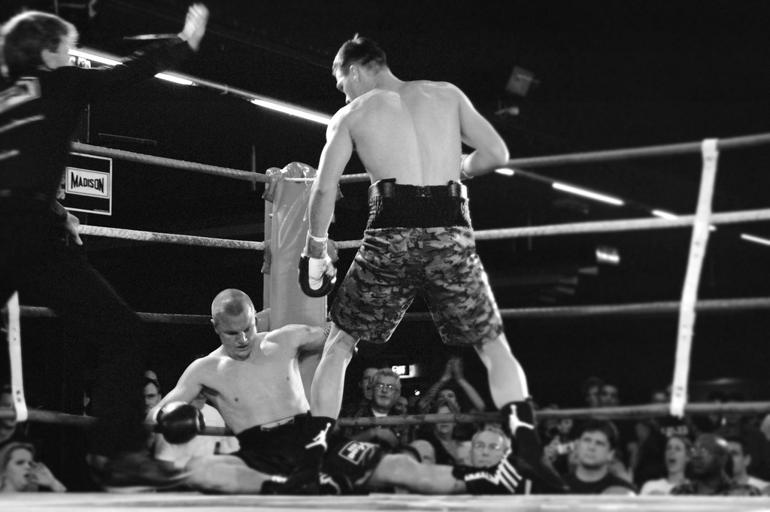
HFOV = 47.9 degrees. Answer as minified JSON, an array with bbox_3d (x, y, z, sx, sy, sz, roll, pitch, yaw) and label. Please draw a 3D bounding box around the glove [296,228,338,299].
[{"bbox_3d":[-0.336,0.059,4.321,0.221,0.285,0.109,0,4,-7],"label":"glove"}]
